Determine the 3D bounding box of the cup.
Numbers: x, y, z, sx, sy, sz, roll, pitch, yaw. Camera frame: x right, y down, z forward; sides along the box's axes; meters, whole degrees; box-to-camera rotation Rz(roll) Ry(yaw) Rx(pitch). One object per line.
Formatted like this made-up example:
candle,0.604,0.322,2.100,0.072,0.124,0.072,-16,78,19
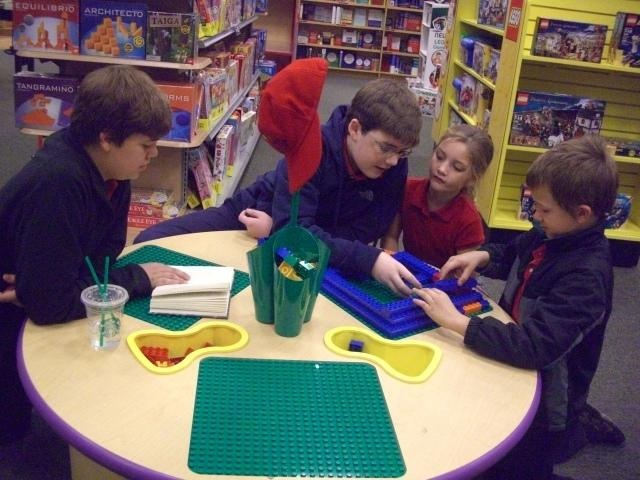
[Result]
cup,-0.665,0.236,1.544,0.103,0.132,0.113,12,34,-8

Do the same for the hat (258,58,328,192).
hat,-0.092,-0.358,1.571,0.207,0.401,0.190,3,18,-3

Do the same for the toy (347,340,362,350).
toy,0.115,0.353,1.699,0.042,0.043,0.032,13,56,3

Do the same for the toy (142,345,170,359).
toy,-0.527,0.353,1.605,0.065,0.016,0.037,4,24,-2

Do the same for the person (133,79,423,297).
person,-0.020,-0.306,2.392,0.801,0.756,1.377,0,16,-30

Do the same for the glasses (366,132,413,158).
glasses,0.285,-0.388,2.070,0.116,0.036,0.123,13,39,-49
